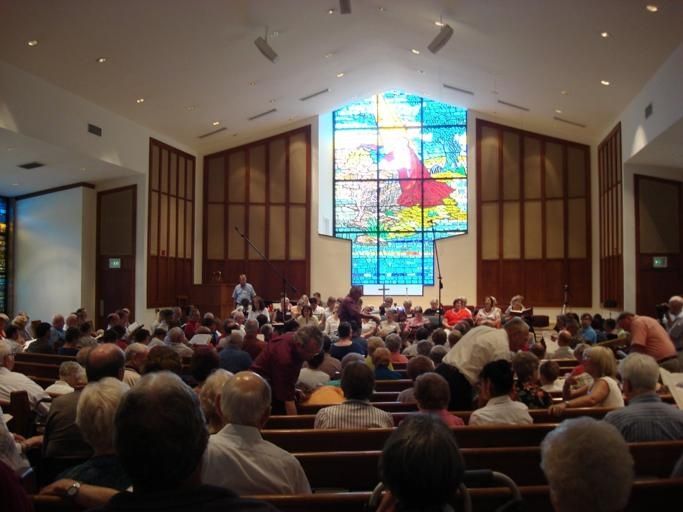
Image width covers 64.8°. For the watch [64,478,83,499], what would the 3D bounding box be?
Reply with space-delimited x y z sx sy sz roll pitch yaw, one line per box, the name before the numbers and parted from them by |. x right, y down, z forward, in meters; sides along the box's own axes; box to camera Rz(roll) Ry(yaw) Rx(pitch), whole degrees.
watch | -1.274 1.110 2.547 0.043 0.065 0.068 15 27 10
